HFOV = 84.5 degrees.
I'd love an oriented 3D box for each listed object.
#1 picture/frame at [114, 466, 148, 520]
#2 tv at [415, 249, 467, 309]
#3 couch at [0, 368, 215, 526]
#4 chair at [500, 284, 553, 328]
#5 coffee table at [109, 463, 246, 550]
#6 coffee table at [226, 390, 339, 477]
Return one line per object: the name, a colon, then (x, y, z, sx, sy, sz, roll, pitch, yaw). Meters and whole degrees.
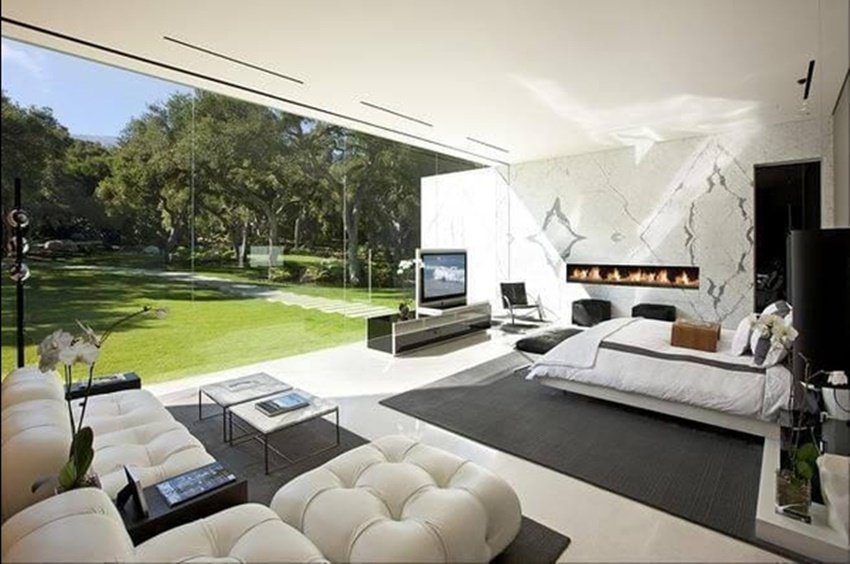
picture/frame: (-2.036, 1.477, 3.228, 0.136, 0.219, 0.295, 1, 3, -37)
tv: (0.313, -0.045, 8.057, 1.215, 1.014, 0.238, -9, 13, -42)
couch: (-2.473, 1.195, 3.538, 1.048, 0.733, 1.457, -1, 5, -33)
chair: (1.896, 0.450, 9.278, 0.669, 0.851, 0.917, -3, 11, -18)
coffee table: (-1.692, 1.556, 3.187, 0.407, 0.404, 0.205, -10, 13, -44)
coffee table: (-1.329, 1.339, 4.562, 0.841, 0.454, 0.813, -5, 7, -40)
